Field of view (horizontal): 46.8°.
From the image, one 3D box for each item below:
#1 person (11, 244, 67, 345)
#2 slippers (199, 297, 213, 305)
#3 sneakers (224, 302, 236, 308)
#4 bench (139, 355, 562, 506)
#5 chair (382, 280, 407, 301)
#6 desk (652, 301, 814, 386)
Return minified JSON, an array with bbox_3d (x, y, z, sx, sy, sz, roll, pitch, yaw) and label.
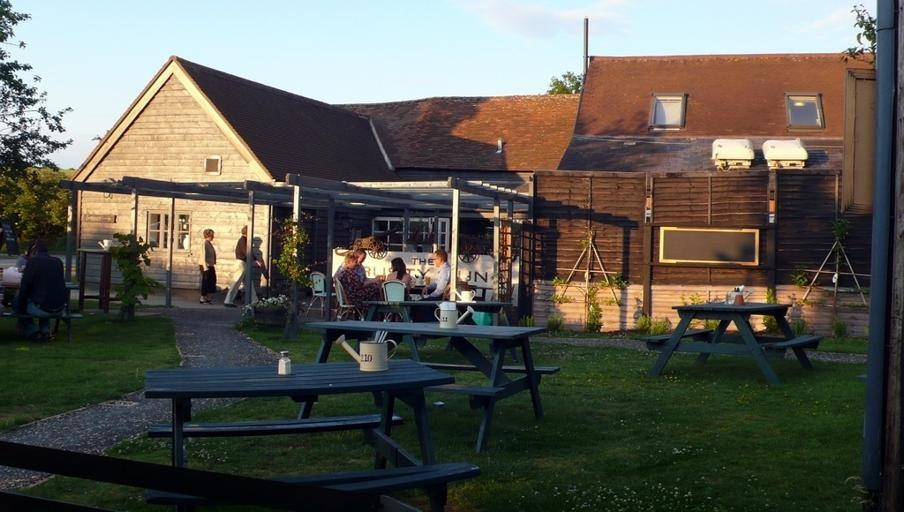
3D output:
[{"bbox_3d":[-10.557,0.901,26.906,1.187,2.472,0.959,1,-2,32],"label":"person"},{"bbox_3d":[-8.161,1.473,34.432,0.224,0.273,0.708,0,-6,-41],"label":"slippers"},{"bbox_3d":[-7.152,1.582,33.843,0.425,0.156,0.134,-2,7,-4],"label":"sneakers"},{"bbox_3d":[-2.428,3.553,21.129,7.363,2.882,1.997,2,-1,-10],"label":"bench"},{"bbox_3d":[-1.553,0.949,28.127,0.614,0.675,0.529,2,4,4],"label":"chair"},{"bbox_3d":[6.988,2.079,25.800,3.699,1.850,2.622,2,-1,-38],"label":"desk"}]
